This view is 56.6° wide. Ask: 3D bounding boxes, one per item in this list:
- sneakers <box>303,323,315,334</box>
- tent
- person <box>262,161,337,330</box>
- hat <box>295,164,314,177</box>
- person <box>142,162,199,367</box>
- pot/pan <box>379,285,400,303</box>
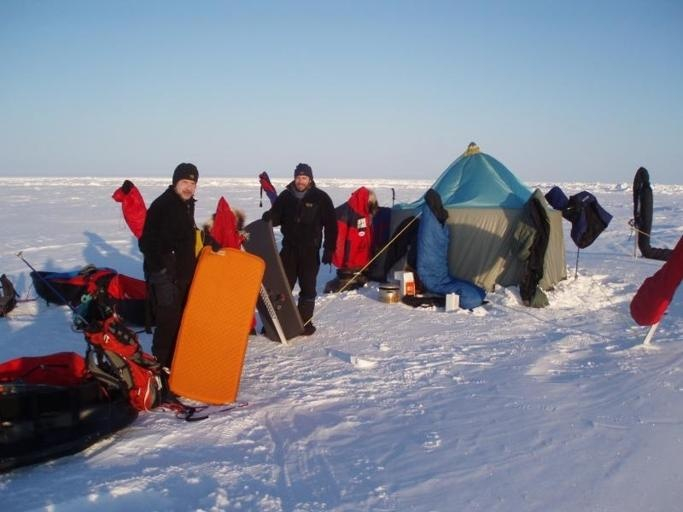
[{"bbox_3d":[-0.405,0.906,7.870,0.147,0.154,0.092,-2,-1,-9],"label":"sneakers"},{"bbox_3d":[2.390,-0.919,11.245,2.982,2.291,3.185,-2,9,3],"label":"tent"},{"bbox_3d":[-0.500,-0.098,7.876,0.869,2.121,0.762,0,13,4],"label":"person"},{"bbox_3d":[-0.459,-1.023,7.637,0.192,0.210,0.433,-2,14,-5],"label":"hat"},{"bbox_3d":[-1.577,0.075,6.003,0.610,1.837,0.447,-11,16,-37],"label":"person"},{"bbox_3d":[0.692,0.572,9.457,0.255,0.195,0.259,1,-2,-3],"label":"pot/pan"}]
